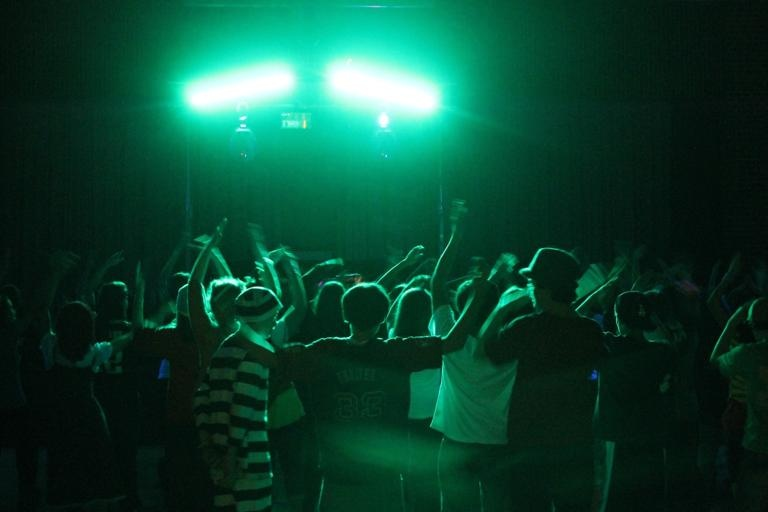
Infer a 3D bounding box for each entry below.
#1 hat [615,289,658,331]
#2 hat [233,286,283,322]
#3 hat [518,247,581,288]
[{"bbox_3d":[2.316,0.520,8.177,0.302,0.408,0.374,4,-1,-44],"label":"hat"},{"bbox_3d":[-1.077,0.421,7.656,0.350,0.240,0.261,2,7,-2],"label":"hat"},{"bbox_3d":[1.487,0.108,7.758,0.428,0.259,0.305,-2,8,4],"label":"hat"}]
